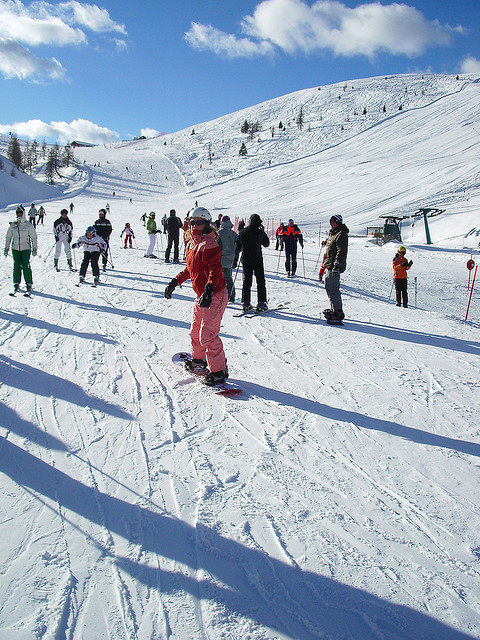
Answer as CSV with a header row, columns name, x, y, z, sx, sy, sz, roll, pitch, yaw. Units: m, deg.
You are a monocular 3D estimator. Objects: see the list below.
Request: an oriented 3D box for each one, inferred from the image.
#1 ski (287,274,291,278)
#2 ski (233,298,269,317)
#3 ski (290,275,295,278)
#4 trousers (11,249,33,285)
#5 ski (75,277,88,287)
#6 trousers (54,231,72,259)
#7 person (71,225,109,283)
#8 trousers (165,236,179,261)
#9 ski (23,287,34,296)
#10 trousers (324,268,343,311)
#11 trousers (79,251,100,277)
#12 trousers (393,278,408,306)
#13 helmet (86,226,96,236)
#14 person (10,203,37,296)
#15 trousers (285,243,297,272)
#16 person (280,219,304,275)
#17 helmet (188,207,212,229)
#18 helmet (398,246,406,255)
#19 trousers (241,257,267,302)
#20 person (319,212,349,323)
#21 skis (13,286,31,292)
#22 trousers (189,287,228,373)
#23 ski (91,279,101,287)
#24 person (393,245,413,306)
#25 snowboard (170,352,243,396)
name,x,y,z,sx,sy,sz,roll,pitch,yaw
ski,1.334,-1.205,14.134,0.077,0.068,0.165,6,15,11
ski,0.199,-0.213,9.232,0.086,0.045,0.795,5,25,40
ski,1.420,-1.197,14.202,0.079,0.054,0.261,9,16,22
trousers,-3.966,-0.984,9.507,0.313,0.663,0.453,-3,16,-23
ski,-3.359,-0.822,11.023,0.094,0.283,0.049,35,-9,14
trousers,-4.626,-1.967,13.621,0.382,0.790,0.741,-2,15,-18
person,-3.248,-1.399,11.324,0.645,1.206,0.924,-1,15,-17
trousers,-1.997,-2.122,15.356,0.368,0.788,0.731,0,15,-10
ski,-3.809,-0.489,9.489,0.192,0.085,0.201,-34,26,33
trousers,1.547,-0.501,8.685,0.253,0.935,0.747,2,5,3
trousers,-3.224,-1.214,11.223,0.365,0.525,0.471,0,15,-13
trousers,3.580,-0.647,11.579,0.256,0.605,0.358,0,15,-10
helmet,-3.277,-1.981,11.511,0.186,0.181,0.373,-1,15,-16
person,-3.901,-1.232,9.349,0.471,1.584,0.423,-3,15,-21
trousers,1.372,-1.675,14.053,0.201,0.785,0.545,8,15,19
person,1.393,-1.961,13.862,0.682,1.487,0.540,0,7,2
helmet,-0.391,-1.039,5.195,0.179,0.245,0.204,3,3,5
helmet,3.556,-1.515,11.274,0.183,0.231,0.228,-1,-2,-5
trousers,0.244,-0.701,9.039,0.446,0.809,0.377,3,14,-1
person,1.527,-0.835,8.378,0.426,1.701,0.523,5,14,9
skis,-4.048,-0.583,9.689,0.131,0.062,0.189,-6,4,14
trousers,-0.306,0.105,5.266,0.352,0.873,0.695,1,15,-7
ski,-3.087,-0.792,11.178,0.127,0.077,0.403,1,15,3
person,3.588,-0.974,11.489,0.425,1.308,0.540,2,14,-3
snowboard,-0.435,0.570,5.524,0.311,0.180,1.042,-22,30,-30
